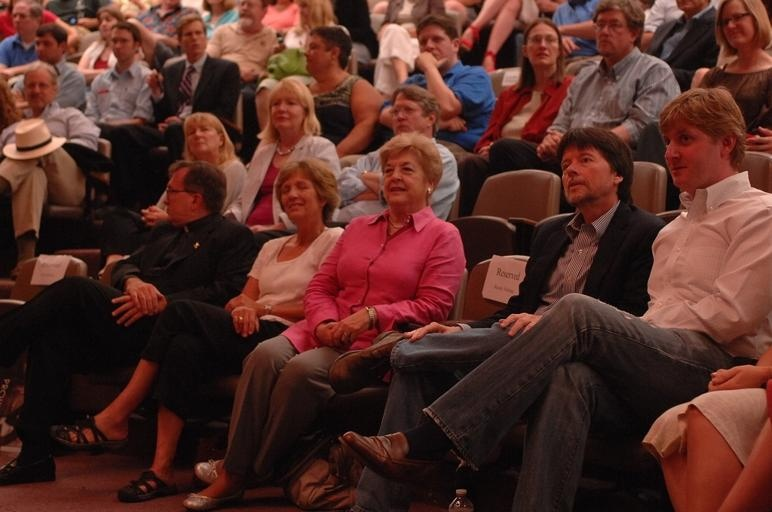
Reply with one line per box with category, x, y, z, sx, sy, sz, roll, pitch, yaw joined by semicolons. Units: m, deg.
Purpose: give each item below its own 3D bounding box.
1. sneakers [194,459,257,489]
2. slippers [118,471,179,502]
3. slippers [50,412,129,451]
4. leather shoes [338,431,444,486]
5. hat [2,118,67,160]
sneakers;-0.772;1.025;3.318;0.221;0.092;0.088;0;24;-1
slippers;-1.081;1.056;3.228;0.223;0.097;0.105;6;-8;-35
slippers;-1.420;0.849;3.386;0.287;0.133;0.151;7;-5;-10
leather shoes;0.011;0.754;2.713;0.400;0.166;0.157;25;-25;-17
hat;-2.844;-0.864;5.652;0.392;0.158;0.381;-4;29;16
